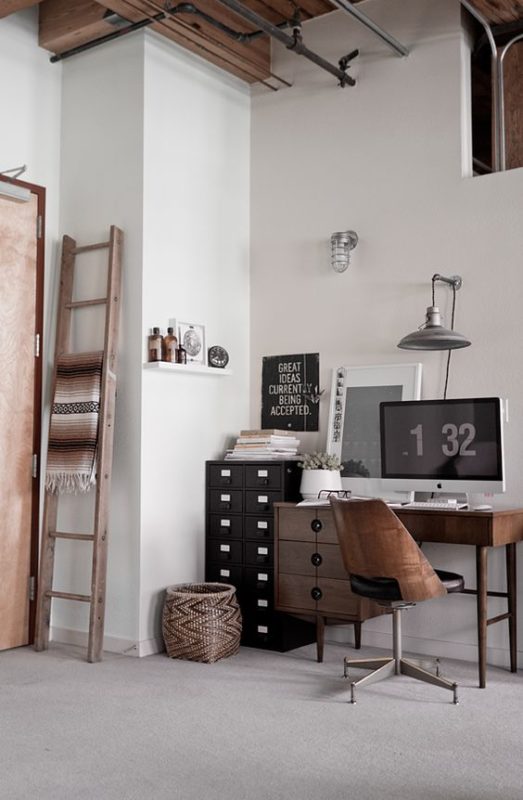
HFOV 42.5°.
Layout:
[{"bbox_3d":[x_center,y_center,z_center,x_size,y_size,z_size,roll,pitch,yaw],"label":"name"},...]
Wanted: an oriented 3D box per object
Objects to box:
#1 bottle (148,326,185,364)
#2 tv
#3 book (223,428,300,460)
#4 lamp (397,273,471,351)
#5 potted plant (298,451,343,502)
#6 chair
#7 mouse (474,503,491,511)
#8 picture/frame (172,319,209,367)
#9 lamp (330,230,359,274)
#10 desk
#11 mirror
[{"bbox_3d":[-0.498,-0.283,3.439,0.071,0.186,0.192,-7,-9,39],"label":"bottle"},{"bbox_3d":[0.823,0.234,3.029,0.482,0.391,0.155,-2,-4,35],"label":"tv"},{"bbox_3d":[-0.004,0.244,3.682,0.395,0.171,0.221,0,-9,0],"label":"book"},{"bbox_3d":[0.798,-0.438,3.160,0.298,0.334,0.311,3,-2,-24],"label":"lamp"},{"bbox_3d":[0.296,0.382,3.366,0.222,0.219,0.226,-4,-6,27],"label":"potted plant"},{"bbox_3d":[0.535,0.778,2.683,0.530,0.755,0.514,5,-8,-39],"label":"chair"},{"bbox_3d":[0.956,0.463,2.927,0.076,0.027,0.439,-3,-9,18],"label":"mouse"},{"bbox_3d":[-0.398,-0.309,3.637,0.029,0.285,0.240,-5,7,36],"label":"picture/frame"},{"bbox_3d":[0.423,-0.835,3.736,0.118,0.223,0.185,8,-12,-42],"label":"lamp"},{"bbox_3d":[0.614,0.843,2.933,0.815,0.558,0.286,-5,-8,42],"label":"desk"},{"bbox_3d":[0.572,0.180,3.377,0.040,0.904,0.649,5,-7,-44],"label":"mirror"}]
